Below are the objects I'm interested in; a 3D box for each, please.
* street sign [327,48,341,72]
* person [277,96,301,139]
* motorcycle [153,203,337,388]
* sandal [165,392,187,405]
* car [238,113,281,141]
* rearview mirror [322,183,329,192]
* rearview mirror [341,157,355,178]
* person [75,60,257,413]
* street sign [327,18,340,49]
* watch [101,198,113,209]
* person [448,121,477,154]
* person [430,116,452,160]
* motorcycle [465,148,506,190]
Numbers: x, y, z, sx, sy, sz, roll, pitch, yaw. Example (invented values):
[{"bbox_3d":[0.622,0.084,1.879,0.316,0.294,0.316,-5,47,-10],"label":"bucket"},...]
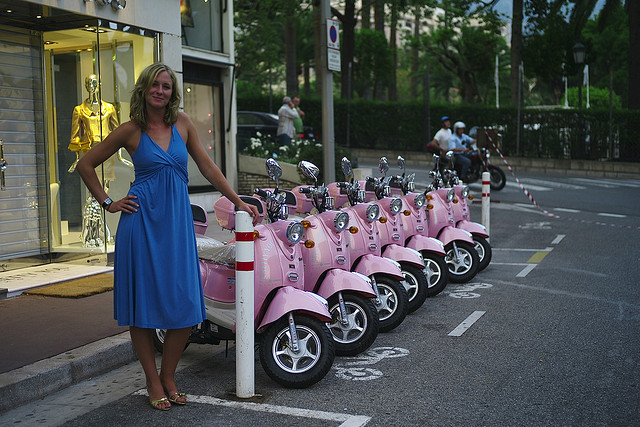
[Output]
[{"bbox_3d":[0.260,-2.771,11.602,0.186,0.394,0.456,1,9,11],"label":"street sign"},{"bbox_3d":[-1.038,-3.074,20.722,0.520,1.339,0.779,6,11,37],"label":"person"},{"bbox_3d":[-0.875,0.729,7.074,2.349,1.835,1.025,7,5,37],"label":"motorcycle"},{"bbox_3d":[-1.388,1.751,6.161,0.213,0.059,0.086,6,6,39],"label":"sandal"},{"bbox_3d":[-2.164,-3.211,23.772,1.899,1.020,1.120,5,6,10],"label":"car"},{"bbox_3d":[0.057,-0.367,8.778,0.142,0.103,0.079,2,8,35],"label":"rearview mirror"},{"bbox_3d":[0.362,-0.581,8.196,0.123,0.165,0.269,-10,-7,-2],"label":"rearview mirror"},{"bbox_3d":[-1.534,0.207,6.136,1.280,3.217,0.705,-4,9,-23],"label":"person"},{"bbox_3d":[0.238,-3.232,11.583,0.095,0.493,0.373,3,9,24],"label":"street sign"},{"bbox_3d":[-2.024,-0.085,6.067,0.094,0.038,0.078,-44,13,2],"label":"watch"},{"bbox_3d":[4.151,-2.238,19.437,0.765,0.897,1.237,-3,6,-27],"label":"person"},{"bbox_3d":[3.646,-2.273,19.116,0.532,1.150,1.553,1,9,11],"label":"person"},{"bbox_3d":[5.118,-1.370,20.061,1.420,1.026,0.914,2,8,21],"label":"motorcycle"}]
